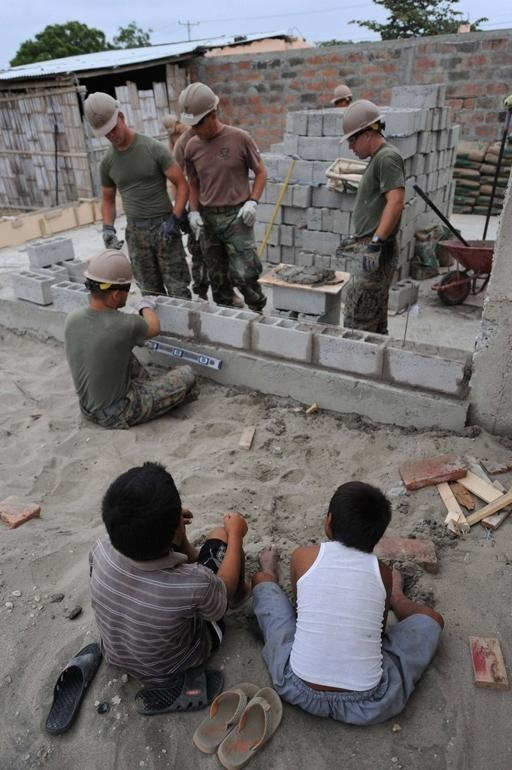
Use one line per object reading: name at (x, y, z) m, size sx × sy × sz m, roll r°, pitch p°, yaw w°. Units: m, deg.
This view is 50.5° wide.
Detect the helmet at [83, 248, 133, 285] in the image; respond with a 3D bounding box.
helmet at (-0.852, -0.668, 3.150) m, size 0.198 × 0.132 × 0.248 m, roll 24°, pitch 24°, yaw 21°

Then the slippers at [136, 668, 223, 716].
slippers at (-0.243, 1.021, 1.786) m, size 0.216 × 0.065 × 0.119 m, roll -5°, pitch 27°, yaw -12°

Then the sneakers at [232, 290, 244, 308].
sneakers at (-0.167, -0.833, 5.258) m, size 0.144 × 0.208 × 0.057 m, roll -3°, pitch -12°, yaw 22°

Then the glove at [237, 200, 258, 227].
glove at (-0.065, -1.270, 4.056) m, size 0.131 × 0.213 × 0.150 m, roll 0°, pitch 26°, yaw 1°

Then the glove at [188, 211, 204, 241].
glove at (-0.481, -1.238, 4.215) m, size 0.067 × 0.186 × 0.138 m, roll -7°, pitch -16°, yaw 17°

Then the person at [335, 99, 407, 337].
person at (0.786, -1.064, 3.723) m, size 0.442 × 1.581 × 0.536 m, roll -16°, pitch 30°, yaw -28°

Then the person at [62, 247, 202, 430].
person at (-0.852, -0.341, 3.658) m, size 0.798 × 1.086 × 0.878 m, roll 26°, pitch 32°, yaw 36°

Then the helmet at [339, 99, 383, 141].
helmet at (0.649, -1.657, 3.449) m, size 0.276 × 0.180 × 0.218 m, roll -17°, pitch 32°, yaw 6°

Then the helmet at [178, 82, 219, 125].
helmet at (-0.390, -1.914, 3.703) m, size 0.252 × 0.267 × 0.241 m, roll -4°, pitch 27°, yaw -6°

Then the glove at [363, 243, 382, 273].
glove at (0.758, -0.826, 3.522) m, size 0.067 × 0.123 × 0.160 m, roll 5°, pitch 69°, yaw 26°

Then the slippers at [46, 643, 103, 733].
slippers at (-0.607, 1.035, 1.848) m, size 0.095 × 0.073 × 0.267 m, roll 10°, pitch 43°, yaw 14°

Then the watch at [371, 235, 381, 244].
watch at (0.764, -0.925, 3.451) m, size 0.037 × 0.037 × 0.051 m, roll 6°, pitch 8°, yaw 19°

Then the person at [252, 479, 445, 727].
person at (0.237, 0.655, 1.862) m, size 0.664 × 0.665 × 0.720 m, roll 5°, pitch 36°, yaw 9°
